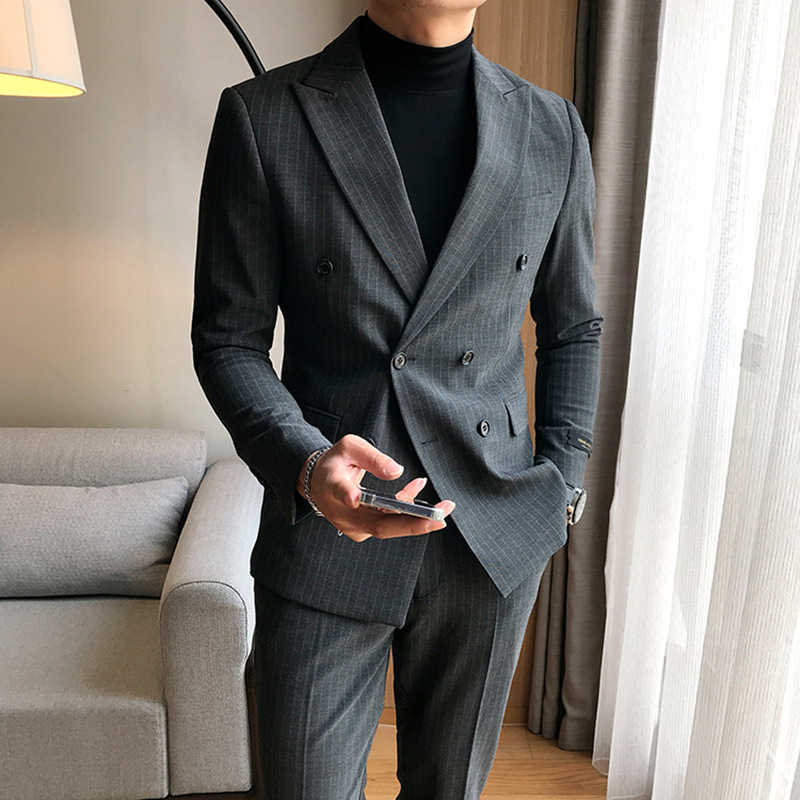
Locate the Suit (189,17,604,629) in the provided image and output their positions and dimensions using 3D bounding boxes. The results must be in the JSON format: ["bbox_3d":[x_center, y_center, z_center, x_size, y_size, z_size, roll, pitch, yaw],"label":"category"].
[{"bbox_3d":[0.031,-0.103,0.944,0.533,0.616,0.338,-2,23,-15],"label":"Suit"}]
